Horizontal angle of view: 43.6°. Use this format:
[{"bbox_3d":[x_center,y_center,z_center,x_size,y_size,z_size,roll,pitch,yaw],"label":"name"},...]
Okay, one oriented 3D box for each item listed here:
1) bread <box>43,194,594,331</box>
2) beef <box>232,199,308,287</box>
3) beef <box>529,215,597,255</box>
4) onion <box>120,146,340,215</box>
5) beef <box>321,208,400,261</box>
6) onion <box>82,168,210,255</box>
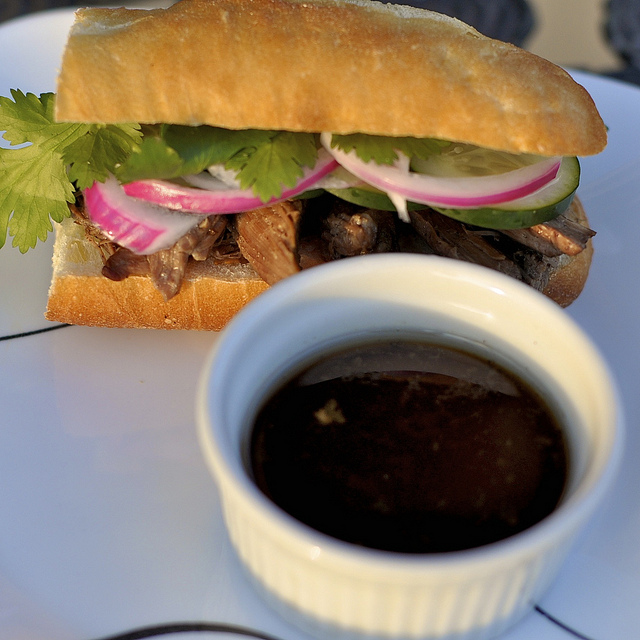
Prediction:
[{"bbox_3d":[-0.133,-0.076,2.025,1.011,0.225,0.552,1,33,3],"label":"bread"},{"bbox_3d":[-0.112,-0.187,1.842,0.194,0.200,0.060,1,23,41],"label":"beef"},{"bbox_3d":[0.563,-0.205,1.852,0.088,0.033,0.140,-33,53,-27],"label":"beef"},{"bbox_3d":[-0.235,-0.354,1.900,0.457,0.153,0.234,-4,33,-5],"label":"onion"},{"bbox_3d":[0.092,-0.203,1.837,0.151,0.131,0.054,-5,-3,-7],"label":"beef"},{"bbox_3d":[-0.423,-0.242,1.895,0.306,0.175,0.173,-18,30,-36],"label":"onion"}]
